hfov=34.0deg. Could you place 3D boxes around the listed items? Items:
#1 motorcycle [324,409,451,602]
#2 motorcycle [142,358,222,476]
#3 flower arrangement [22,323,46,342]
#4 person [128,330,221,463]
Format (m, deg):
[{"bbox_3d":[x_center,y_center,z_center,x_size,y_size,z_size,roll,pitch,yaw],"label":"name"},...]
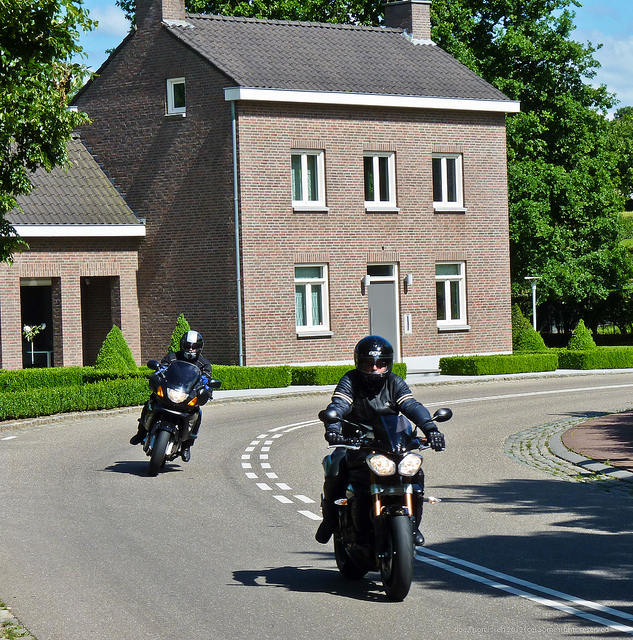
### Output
[{"bbox_3d":[0.397,1.263,7.165,0.702,1.242,1.007,1,-1,7],"label":"motorcycle"},{"bbox_3d":[-1.827,1.240,13.185,1.039,1.414,0.687,2,-2,-44],"label":"motorcycle"},{"bbox_3d":[-8.424,0.335,30.683,0.785,0.469,0.487,-16,-3,-19],"label":"flower arrangement"},{"bbox_3d":[-1.941,1.278,14.102,0.878,1.507,2.578,15,-2,-5],"label":"person"}]
